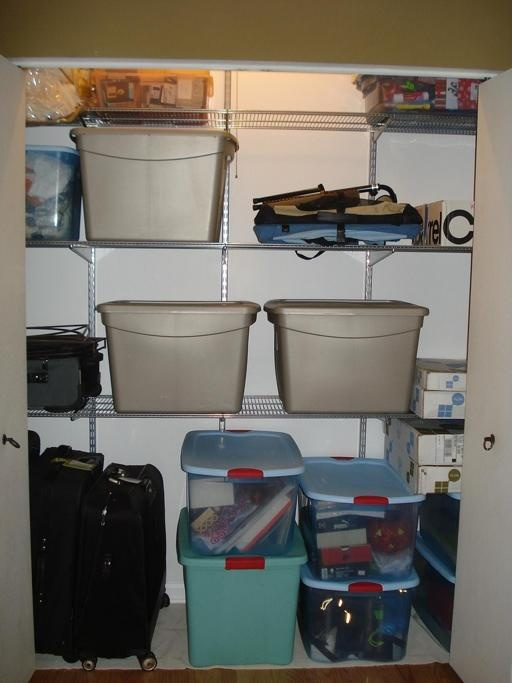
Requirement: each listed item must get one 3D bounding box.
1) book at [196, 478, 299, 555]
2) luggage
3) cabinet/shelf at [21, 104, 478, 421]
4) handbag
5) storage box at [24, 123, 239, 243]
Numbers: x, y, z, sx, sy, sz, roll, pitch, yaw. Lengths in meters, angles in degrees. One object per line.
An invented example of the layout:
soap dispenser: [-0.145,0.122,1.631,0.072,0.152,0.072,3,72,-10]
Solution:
book: [-0.039,0.541,1.900,0.275,0.196,0.199,0,-4,-5]
luggage: [-0.465,0.674,2.183,0.614,0.824,0.516,2,3,6]
cabinet/shelf: [-0.065,-0.297,2.083,1.062,1.019,0.349,0,7,-3]
handbag: [0.271,-0.396,2.032,0.549,0.160,0.186,2,8,-1]
storage box: [-0.412,-0.505,1.945,0.458,0.280,0.300,1,2,-3]
